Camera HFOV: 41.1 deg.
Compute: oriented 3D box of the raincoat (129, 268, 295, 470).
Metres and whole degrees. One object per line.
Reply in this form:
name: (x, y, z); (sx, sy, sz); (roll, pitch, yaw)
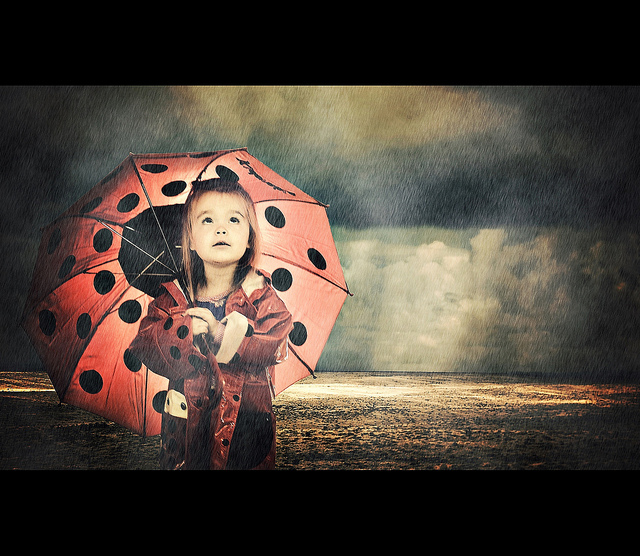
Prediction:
raincoat: (-0.957, 0.838, 7.668); (1.369, 1.901, 0.947); (1, -7, -12)
